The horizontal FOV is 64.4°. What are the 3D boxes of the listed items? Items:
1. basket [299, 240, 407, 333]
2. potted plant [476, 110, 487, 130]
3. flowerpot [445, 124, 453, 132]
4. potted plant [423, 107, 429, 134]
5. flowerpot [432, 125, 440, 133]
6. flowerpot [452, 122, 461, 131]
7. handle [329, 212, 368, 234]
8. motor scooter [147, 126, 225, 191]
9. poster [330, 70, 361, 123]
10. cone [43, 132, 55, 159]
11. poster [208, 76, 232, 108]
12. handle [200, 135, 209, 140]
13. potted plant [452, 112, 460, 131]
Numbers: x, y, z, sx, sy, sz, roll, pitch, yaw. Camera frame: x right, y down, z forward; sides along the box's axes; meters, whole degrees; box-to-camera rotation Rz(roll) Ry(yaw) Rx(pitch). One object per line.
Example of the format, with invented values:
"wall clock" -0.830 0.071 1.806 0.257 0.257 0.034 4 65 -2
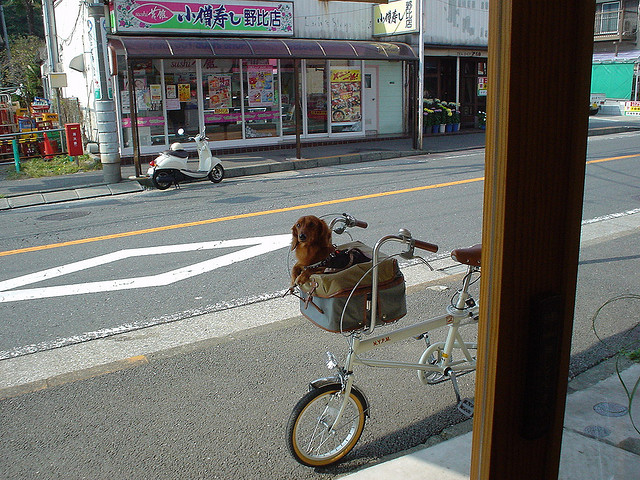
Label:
"basket" 0.238 0.340 3.646 0.720 0.524 0.491 -11 18 -17
"potted plant" 8.264 -6.155 25.992 0.357 0.950 0.947 2 18 22
"flowerpot" 6.103 -5.296 24.081 0.528 0.397 0.139 -18 21 -36
"potted plant" 4.847 -5.443 23.282 0.193 1.143 0.383 -4 16 4
"flowerpot" 5.397 -5.183 23.646 0.335 0.362 0.116 -13 18 -23
"flowerpot" 6.543 -5.433 24.367 0.232 0.419 0.721 6 21 33
"handle" 0.219 -0.132 3.987 0.237 0.109 0.173 8 13 -22
"motor scooter" -3.684 -1.984 13.659 1.598 1.945 1.651 16 19 40
"poster" 1.144 -6.237 21.956 1.590 2.186 0.331 -17 20 -35
"cone" -10.243 -3.550 19.055 0.356 0.923 0.801 -13 18 -26
"poster" -3.771 -5.559 18.946 1.011 1.362 0.096 -13 30 -33
"handle" -3.090 -2.704 13.402 0.075 0.111 0.241 -4 17 5
"potted plant" 6.430 -5.606 24.126 0.215 0.883 0.574 11 23 44
